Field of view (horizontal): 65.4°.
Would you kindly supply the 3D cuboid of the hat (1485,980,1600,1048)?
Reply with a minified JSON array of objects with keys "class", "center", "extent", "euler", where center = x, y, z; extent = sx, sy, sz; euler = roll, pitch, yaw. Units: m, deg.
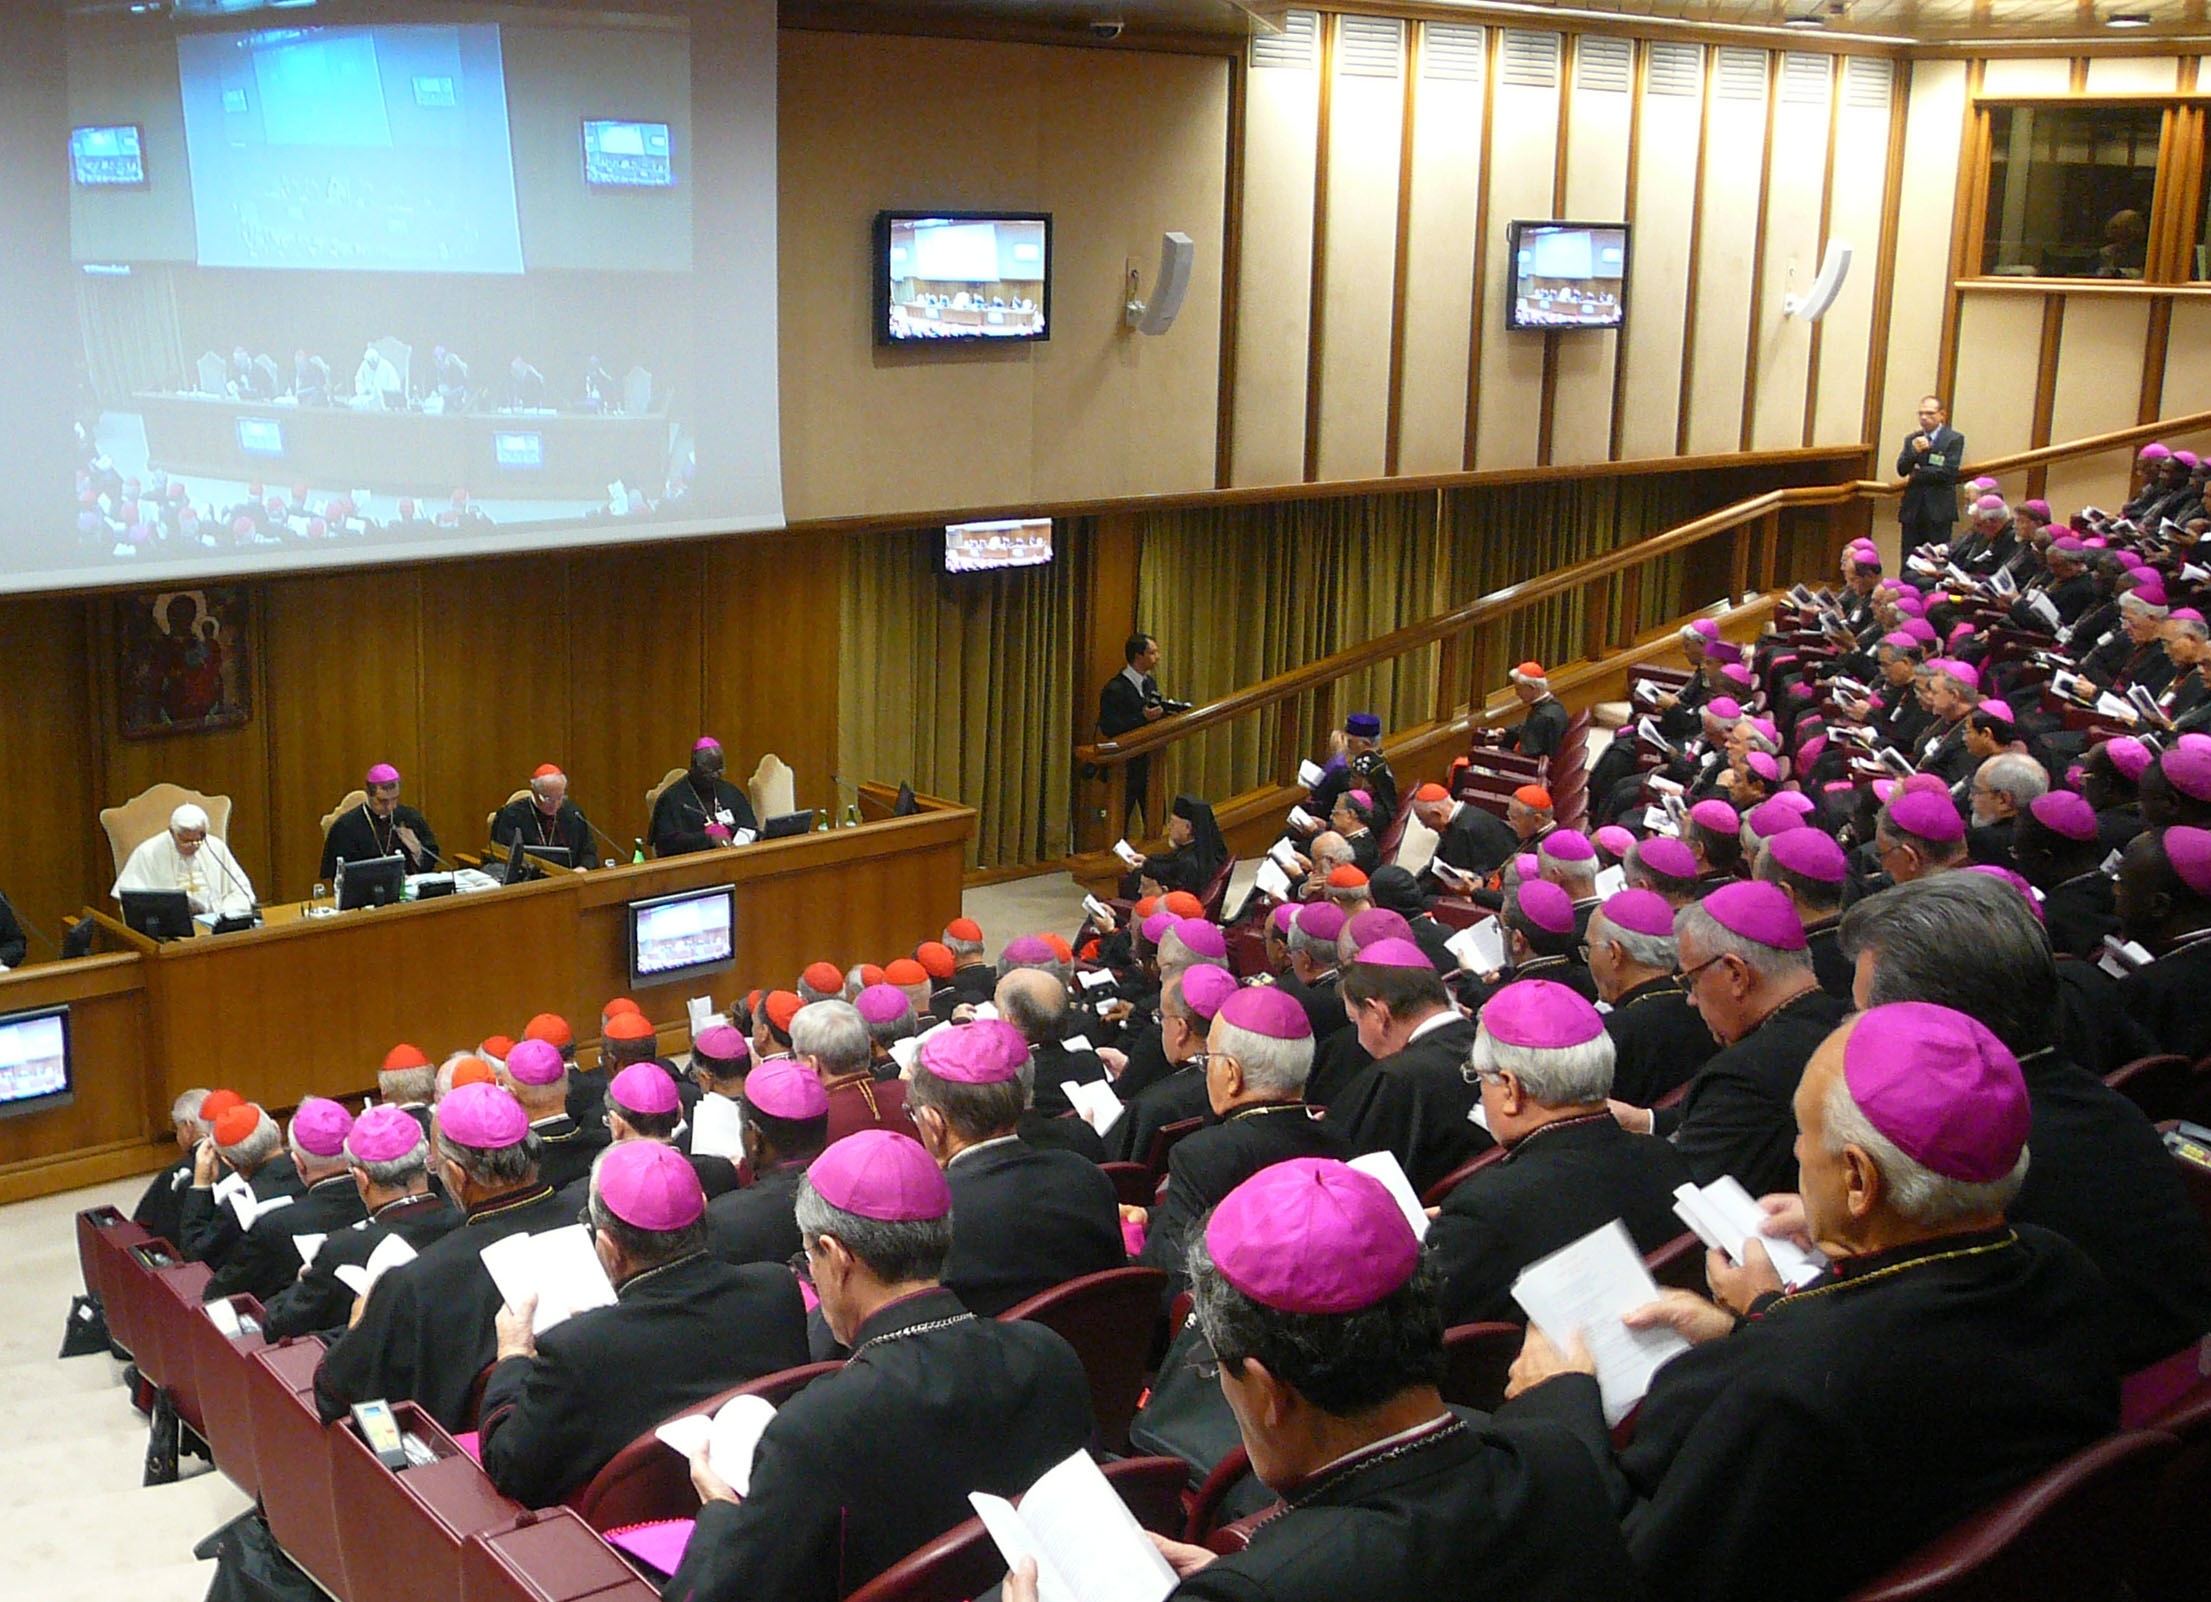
[{"class":"hat","center":[1.024,0.491,4.046],"extent":[0.273,0.128,0.179],"euler":[0,12,6]}]

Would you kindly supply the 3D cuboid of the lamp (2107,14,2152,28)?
[{"class":"lamp","center":[9.845,-7.540,16.575],"extent":[0.382,0.097,0.419],"euler":[7,14,33]}]

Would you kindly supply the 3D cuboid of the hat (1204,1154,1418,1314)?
[{"class":"hat","center":[0.307,0.640,2.553],"extent":[0.274,0.158,0.240],"euler":[-7,14,-29]}]

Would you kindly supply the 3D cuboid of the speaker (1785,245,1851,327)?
[{"class":"speaker","center":[7.244,-5.174,17.277],"extent":[0.579,0.670,1.001],"euler":[10,16,42]}]

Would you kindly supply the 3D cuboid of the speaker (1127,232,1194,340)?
[{"class":"speaker","center":[0.565,-3.913,12.930],"extent":[0.681,0.770,0.650],"euler":[-9,14,-35]}]

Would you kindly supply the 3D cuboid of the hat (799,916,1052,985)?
[{"class":"hat","center":[-0.610,0.786,8.930],"extent":[0.686,0.304,0.526],"euler":[-5,-1,34]}]

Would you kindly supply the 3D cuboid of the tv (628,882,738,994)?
[{"class":"tv","center":[-2.710,0.835,10.915],"extent":[0.632,0.500,0.068],"euler":[-7,11,-43]}]

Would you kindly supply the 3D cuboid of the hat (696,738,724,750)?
[{"class":"hat","center":[-2.818,-0.415,12.226],"extent":[0.167,0.093,0.245],"euler":[1,4,-13]}]

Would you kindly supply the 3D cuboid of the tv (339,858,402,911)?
[{"class":"tv","center":[-4.262,0.480,9.975],"extent":[0.232,0.232,0.122],"euler":[-6,30,-37]}]

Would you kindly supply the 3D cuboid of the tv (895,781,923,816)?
[{"class":"tv","center":[-1.396,-0.035,12.264],"extent":[0.165,0.348,0.211],"euler":[-6,15,-20]}]

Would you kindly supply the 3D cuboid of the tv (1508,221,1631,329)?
[{"class":"tv","center":[4.169,-4.732,15.462],"extent":[1.390,0.952,0.150],"euler":[-8,13,-31]}]

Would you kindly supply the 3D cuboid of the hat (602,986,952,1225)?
[{"class":"hat","center":[-0.986,1.051,5.313],"extent":[0.594,0.383,0.876],"euler":[-4,45,-22]}]
